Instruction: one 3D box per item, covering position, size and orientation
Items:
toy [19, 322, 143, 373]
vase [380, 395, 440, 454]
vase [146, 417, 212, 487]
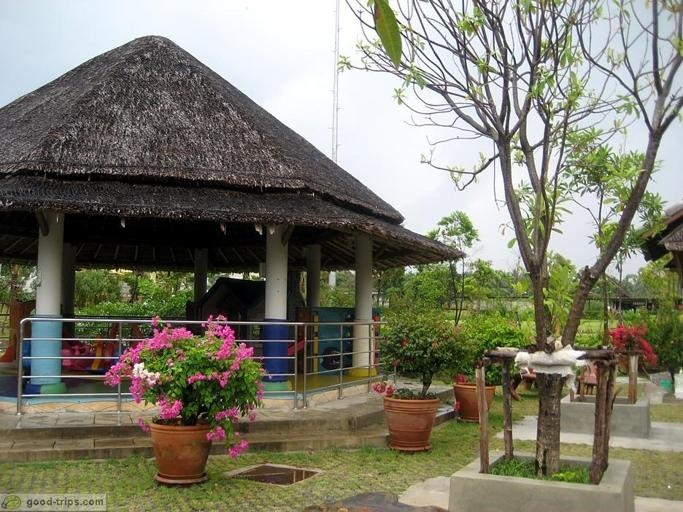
[{"bbox_3d":[-4.629,1.624,9.470,1.318,0.583,0.924,-5,-14,22],"label":"toy"},{"bbox_3d":[1.033,2.458,7.887,0.784,0.599,0.762,-1,-16,8],"label":"vase"},{"bbox_3d":[-1.871,2.335,6.427,0.798,0.628,0.784,-1,-13,-3],"label":"vase"}]
